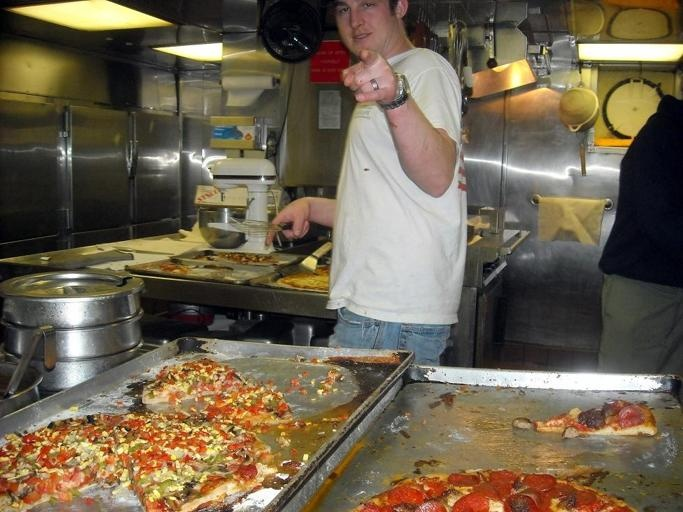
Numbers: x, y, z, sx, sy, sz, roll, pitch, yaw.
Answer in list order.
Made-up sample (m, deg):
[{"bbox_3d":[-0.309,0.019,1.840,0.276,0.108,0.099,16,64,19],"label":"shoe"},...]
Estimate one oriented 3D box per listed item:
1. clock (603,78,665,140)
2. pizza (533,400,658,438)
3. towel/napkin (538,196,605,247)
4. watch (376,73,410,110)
[{"bbox_3d":[2.379,-1.176,4.301,0.148,0.485,0.578,-12,13,-17],"label":"clock"},{"bbox_3d":[0.626,0.381,1.326,0.181,0.036,0.129,0,-2,29],"label":"pizza"},{"bbox_3d":[1.911,-0.299,4.480,0.101,0.373,0.652,-6,9,-27],"label":"towel/napkin"},{"bbox_3d":[0.137,-0.465,1.516,0.104,0.091,0.043,-25,39,-28],"label":"watch"}]
